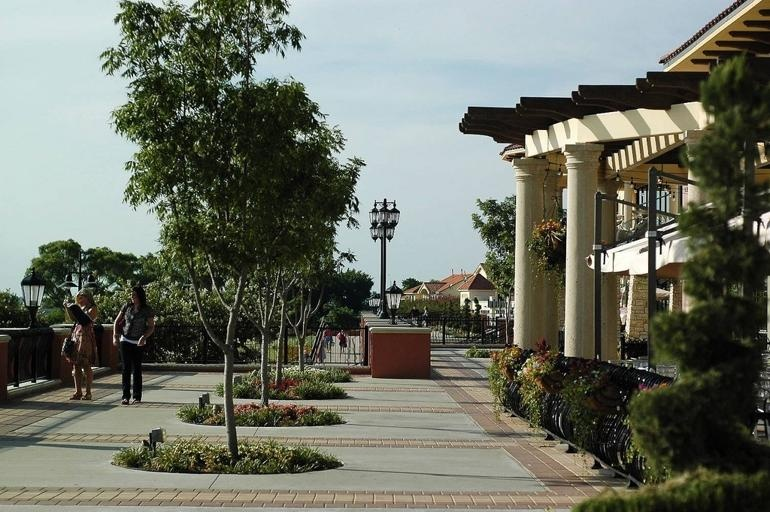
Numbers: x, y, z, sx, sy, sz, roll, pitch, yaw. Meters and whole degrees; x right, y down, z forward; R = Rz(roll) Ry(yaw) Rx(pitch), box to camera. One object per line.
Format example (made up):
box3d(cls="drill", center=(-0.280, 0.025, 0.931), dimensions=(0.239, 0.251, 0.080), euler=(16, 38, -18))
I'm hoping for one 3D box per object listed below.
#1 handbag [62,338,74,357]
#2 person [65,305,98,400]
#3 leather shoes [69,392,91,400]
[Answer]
box3d(cls="handbag", center=(-5.928, 1.719, 18.936), dimensions=(0.261, 0.499, 0.319), euler=(1, -3, -17))
box3d(cls="person", center=(-5.763, 1.759, 19.060), dimensions=(0.524, 1.897, 1.127), euler=(3, -7, -17))
box3d(cls="leather shoes", center=(-5.875, 2.710, 19.335), dimensions=(0.427, 0.181, 0.166), euler=(7, -6, -10))
